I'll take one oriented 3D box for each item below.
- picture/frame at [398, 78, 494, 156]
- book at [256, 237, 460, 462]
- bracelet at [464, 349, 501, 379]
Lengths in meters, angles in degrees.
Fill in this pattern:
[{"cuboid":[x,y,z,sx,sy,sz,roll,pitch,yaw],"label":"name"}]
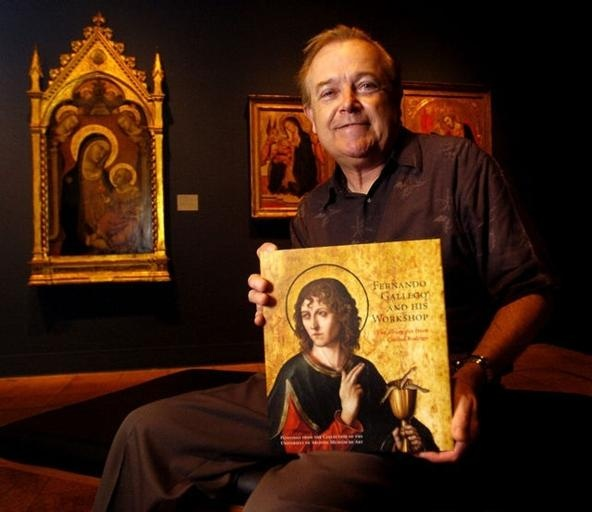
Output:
[{"cuboid":[1.335,-1.145,5.507,0.803,0.072,0.821,8,-36,20],"label":"picture/frame"},{"cuboid":[0.228,0.360,2.270,0.775,0.946,0.092,-3,-3,9],"label":"book"},{"cuboid":[0.721,0.405,2.397,0.104,0.103,0.106,3,13,-42],"label":"bracelet"}]
